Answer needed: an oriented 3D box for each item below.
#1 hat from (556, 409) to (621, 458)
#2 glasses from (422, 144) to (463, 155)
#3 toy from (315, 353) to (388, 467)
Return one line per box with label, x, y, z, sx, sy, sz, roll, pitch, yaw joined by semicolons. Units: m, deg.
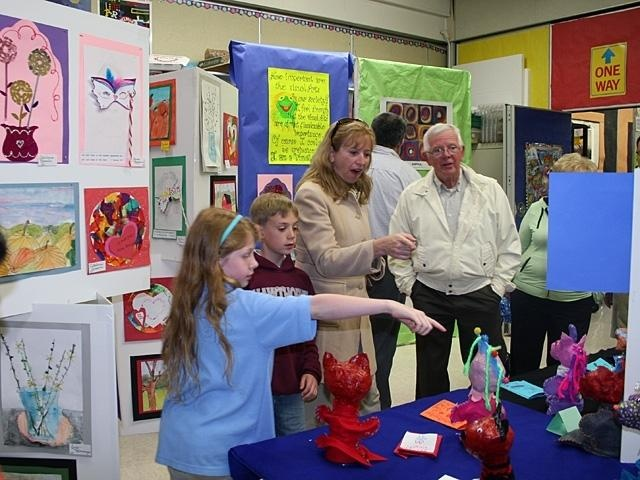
hat;0.851;0.586;1.671;0.120;0.151;0.191;6;1;-45
glasses;0.699;-0.507;2.917;0.207;0.059;0.134;1;7;17
toy;0.104;0.526;1.676;0.271;0.411;0.226;-2;-3;21
